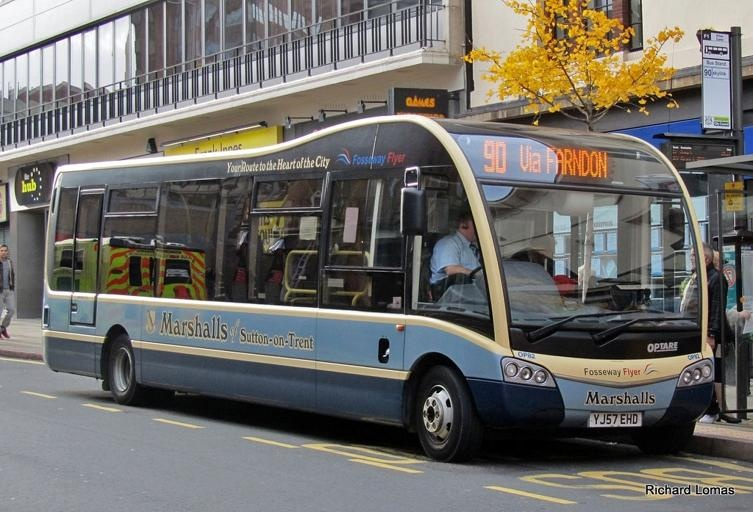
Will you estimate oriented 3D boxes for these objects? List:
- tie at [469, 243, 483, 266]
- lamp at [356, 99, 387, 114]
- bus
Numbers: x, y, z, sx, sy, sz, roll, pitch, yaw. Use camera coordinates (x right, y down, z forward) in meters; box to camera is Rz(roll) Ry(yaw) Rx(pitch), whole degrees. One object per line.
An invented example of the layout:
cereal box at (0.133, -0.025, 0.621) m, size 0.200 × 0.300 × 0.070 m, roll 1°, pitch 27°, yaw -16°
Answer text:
tie at (1.066, -0.004, 8.323) m, size 0.031 × 0.250 × 0.143 m, roll 1°, pitch -3°, yaw -37°
lamp at (-0.126, -4.409, 22.892) m, size 1.087 × 0.503 × 0.195 m, roll -4°, pitch -4°, yaw 40°
bus at (-0.892, 0.302, 12.348) m, size 10.501 × 3.795 × 3.653 m, roll 1°, pitch -1°, yaw 42°
